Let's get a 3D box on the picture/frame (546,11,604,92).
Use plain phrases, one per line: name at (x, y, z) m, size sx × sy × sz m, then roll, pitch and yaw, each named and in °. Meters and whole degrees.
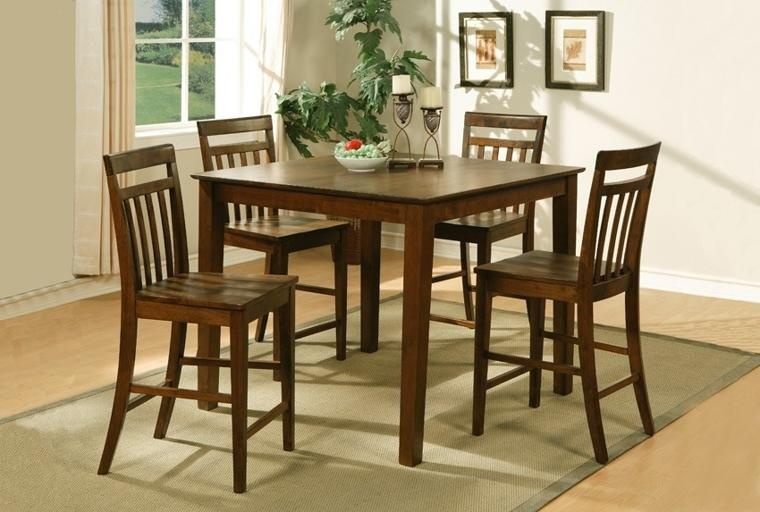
picture/frame at (1.509, -1.592, 4.731) m, size 0.525 × 0.583 × 0.206 m, roll 8°, pitch 25°, yaw 18°
